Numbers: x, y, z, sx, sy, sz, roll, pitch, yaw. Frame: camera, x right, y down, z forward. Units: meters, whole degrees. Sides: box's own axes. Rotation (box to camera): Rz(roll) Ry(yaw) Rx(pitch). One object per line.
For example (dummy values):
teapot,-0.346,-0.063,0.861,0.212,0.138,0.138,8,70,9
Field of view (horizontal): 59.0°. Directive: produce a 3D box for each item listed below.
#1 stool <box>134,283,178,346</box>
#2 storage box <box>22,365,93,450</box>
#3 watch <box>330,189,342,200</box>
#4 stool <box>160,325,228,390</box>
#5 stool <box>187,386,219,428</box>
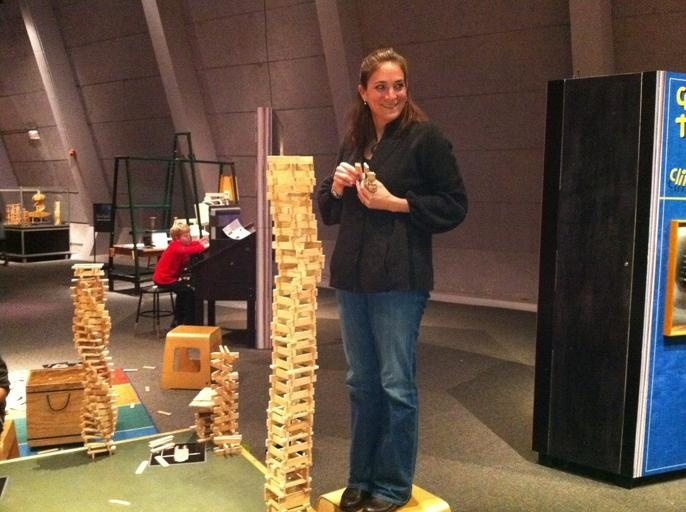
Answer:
stool,-2.344,0.675,7.486,0.465,0.487,0.449,1,5,-35
storage box,-1.893,1.013,4.329,0.611,0.421,0.587,0,5,-7
watch,-0.032,-0.289,2.878,0.034,0.036,0.042,6,-7,-9
stool,-1.310,0.911,5.346,0.543,0.435,0.541,1,3,11
stool,-0.866,0.959,3.779,0.098,0.278,0.219,3,23,-7
